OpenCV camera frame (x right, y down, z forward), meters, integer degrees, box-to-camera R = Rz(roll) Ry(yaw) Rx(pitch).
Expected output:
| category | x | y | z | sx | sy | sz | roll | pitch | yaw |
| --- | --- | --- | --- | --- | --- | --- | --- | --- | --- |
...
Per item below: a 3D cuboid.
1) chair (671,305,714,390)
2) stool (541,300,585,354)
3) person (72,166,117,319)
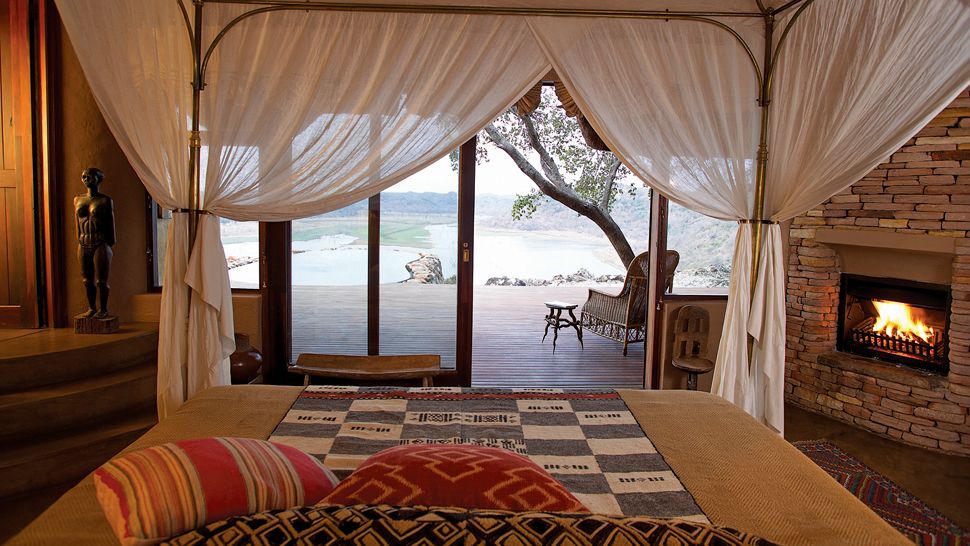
| category | x | y | z | sx | sy | sz | roll | pitch | yaw |
| --- | --- | --- | --- | --- | --- | --- | --- | --- | --- |
| chair | 1.895 | 0.708 | 5.662 | 0.355 | 0.798 | 0.681 | 4 | 4 | 17 |
| stool | 1.082 | 0.642 | 8.432 | 0.522 | 0.654 | 0.711 | 0 | 1 | -25 |
| person | -3.358 | -0.249 | 5.261 | 0.277 | 1.280 | 0.246 | 0 | 5 | -29 |
